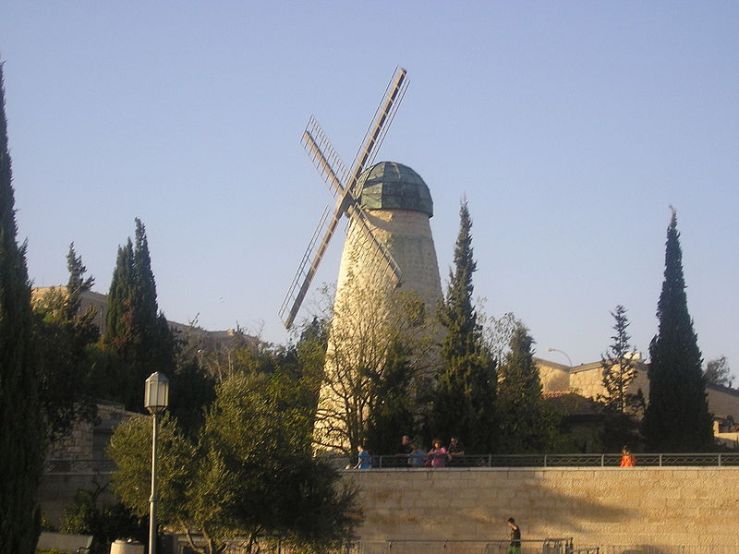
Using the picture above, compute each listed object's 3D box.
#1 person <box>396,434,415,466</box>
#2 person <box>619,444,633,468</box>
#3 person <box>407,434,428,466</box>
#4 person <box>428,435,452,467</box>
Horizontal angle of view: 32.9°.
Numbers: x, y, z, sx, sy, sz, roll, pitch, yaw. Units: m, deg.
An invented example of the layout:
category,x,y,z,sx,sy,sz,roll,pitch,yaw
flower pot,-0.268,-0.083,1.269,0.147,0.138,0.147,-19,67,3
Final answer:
category,x,y,z,sx,sy,sz,roll,pitch,yaw
person,1.241,5.793,41.271,0.629,1.369,0.854,0,-15,1
person,8.218,5.687,39.719,0.489,0.754,1.571,-1,-13,11
person,1.490,5.678,40.696,0.606,0.972,0.501,1,-1,15
person,2.330,5.645,40.399,0.728,0.917,0.750,0,-12,6
